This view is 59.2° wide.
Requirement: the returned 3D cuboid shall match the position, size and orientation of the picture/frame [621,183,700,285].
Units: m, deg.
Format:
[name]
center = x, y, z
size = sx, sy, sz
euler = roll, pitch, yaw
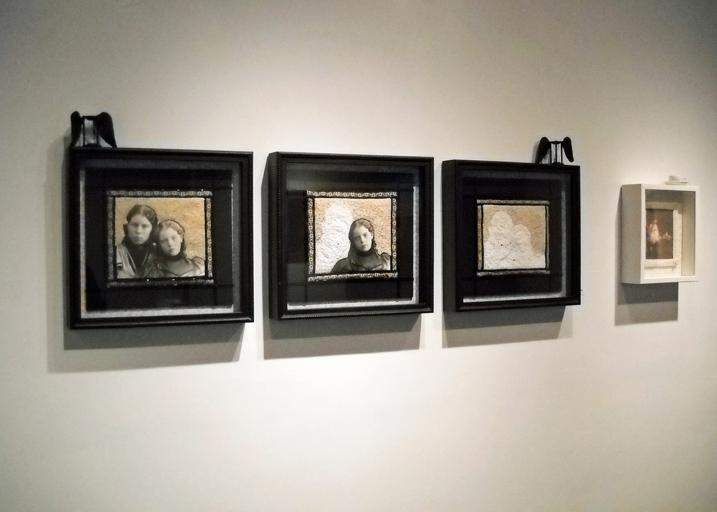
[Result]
[picture/frame]
center = 1.024, -0.084, 2.185
size = 0.305, 0.399, 0.098
euler = -3, 2, -23
